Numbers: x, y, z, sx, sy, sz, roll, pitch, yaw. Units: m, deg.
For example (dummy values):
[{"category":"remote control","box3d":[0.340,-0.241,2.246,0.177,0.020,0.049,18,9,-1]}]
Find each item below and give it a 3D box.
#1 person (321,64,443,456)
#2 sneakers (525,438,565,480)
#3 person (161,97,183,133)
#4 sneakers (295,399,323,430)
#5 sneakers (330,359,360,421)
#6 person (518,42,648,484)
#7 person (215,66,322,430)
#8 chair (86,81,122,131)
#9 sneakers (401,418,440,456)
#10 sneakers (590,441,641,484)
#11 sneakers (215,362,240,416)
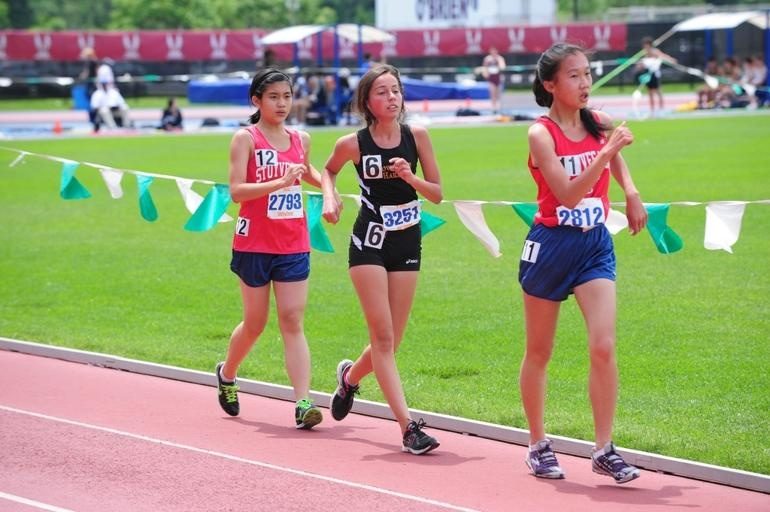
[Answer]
[{"category":"person","box3d":[0.054,-0.015,5.446,1.040,2.741,0.680,8,15,41]},{"category":"sneakers","box3d":[1.072,1.368,4.977,0.143,0.159,0.357,0,-4,-15]},{"category":"person","box3d":[-7.384,-4.807,24.956,0.688,1.031,0.967,-5,12,-16]},{"category":"sneakers","box3d":[-0.604,1.215,5.635,0.173,0.255,0.224,-6,12,-21]},{"category":"sneakers","box3d":[-0.311,1.042,5.737,0.185,0.483,0.214,9,2,-33]},{"category":"person","box3d":[1.301,0.042,4.857,0.801,2.838,0.788,1,12,16]},{"category":"person","box3d":[-0.933,-0.049,5.699,0.874,2.746,0.809,-1,12,5]},{"category":"chair","box3d":[-9.438,-4.889,24.265,0.799,1.545,1.350,-6,12,-20]},{"category":"sneakers","box3d":[0.251,1.288,5.253,0.256,0.256,0.187,-2,12,-2]},{"category":"sneakers","box3d":[1.504,1.345,4.764,0.285,0.316,0.231,1,12,14]},{"category":"sneakers","box3d":[-1.272,1.079,5.957,0.161,0.438,0.183,-13,-2,-34]}]
